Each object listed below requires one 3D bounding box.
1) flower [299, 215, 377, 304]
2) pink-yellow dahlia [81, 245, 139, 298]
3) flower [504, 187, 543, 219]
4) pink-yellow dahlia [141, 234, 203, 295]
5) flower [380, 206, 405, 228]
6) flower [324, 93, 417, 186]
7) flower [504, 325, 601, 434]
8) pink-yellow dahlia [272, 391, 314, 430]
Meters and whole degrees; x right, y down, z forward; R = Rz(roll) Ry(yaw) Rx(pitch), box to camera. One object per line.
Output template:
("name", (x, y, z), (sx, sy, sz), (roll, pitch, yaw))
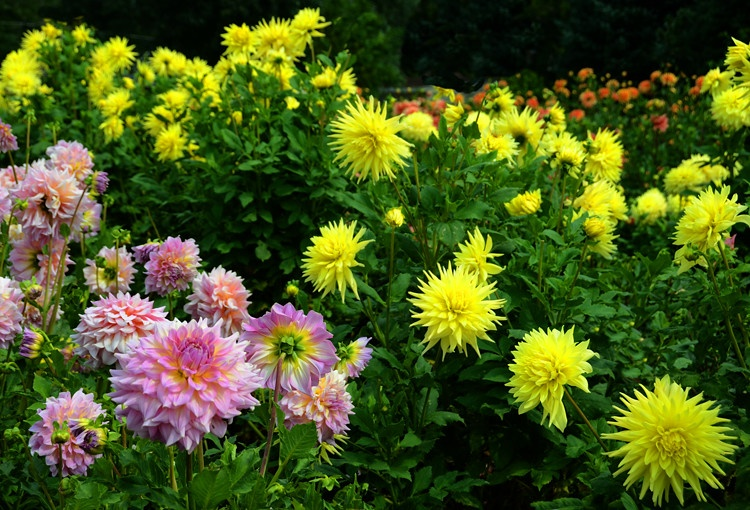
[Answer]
("flower", (-0.157, -0.021, 3.144), (0.348, 0.377, 0.148), (-23, 73, 6))
("pink-yellow dahlia", (-1.248, 0.076, 3.498), (0.223, 0.246, 0.101), (-4, 0, -2))
("flower", (0.723, -0.253, 3.521), (0.135, 0.137, 0.079), (-35, 98, -36))
("pink-yellow dahlia", (-0.890, 0.038, 3.196), (0.221, 0.252, 0.100), (-17, 27, -18))
("flower", (0.083, -0.163, 3.208), (0.084, 0.096, 0.091), (-8, 18, 16))
("flower", (-0.019, -0.483, 3.148), (0.364, 0.390, 0.259), (29, 37, 7))
("flower", (0.710, 0.427, 2.897), (0.348, 0.192, 0.398), (-13, 20, -7))
("pink-yellow dahlia", (-0.319, 0.620, 3.007), (0.155, 0.156, 0.065), (-6, 58, -53))
